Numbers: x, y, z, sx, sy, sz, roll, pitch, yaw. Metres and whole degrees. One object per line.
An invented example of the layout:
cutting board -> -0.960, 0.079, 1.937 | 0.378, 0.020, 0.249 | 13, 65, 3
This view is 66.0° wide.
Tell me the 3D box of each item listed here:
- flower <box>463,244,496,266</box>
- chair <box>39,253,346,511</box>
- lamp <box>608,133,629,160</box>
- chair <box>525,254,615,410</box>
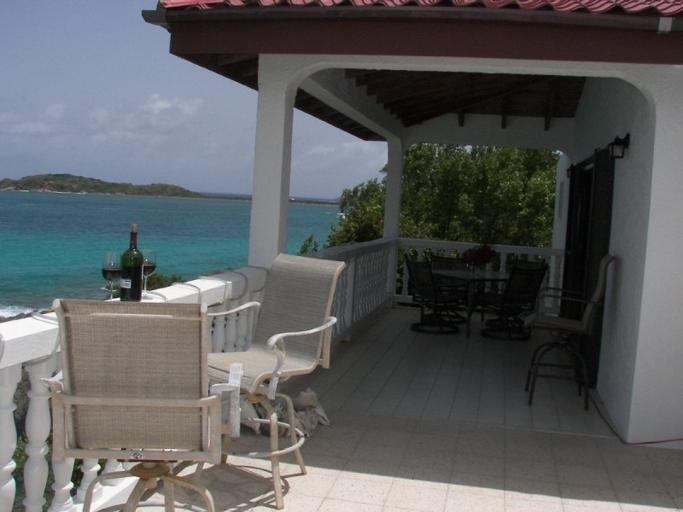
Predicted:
flower -> 1.853, 0.010, 7.043 | 0.324, 0.313, 0.524 | 6, 7, 35
chair -> -0.670, 0.744, 2.866 | 1.099, 1.349, 1.878 | 3, 6, 10
lamp -> 2.374, -0.940, 4.510 | 0.124, 0.207, 0.323 | 4, 6, 20
chair -> 2.071, 0.680, 4.911 | 0.828, 1.348, 0.756 | 3, 1, 9
